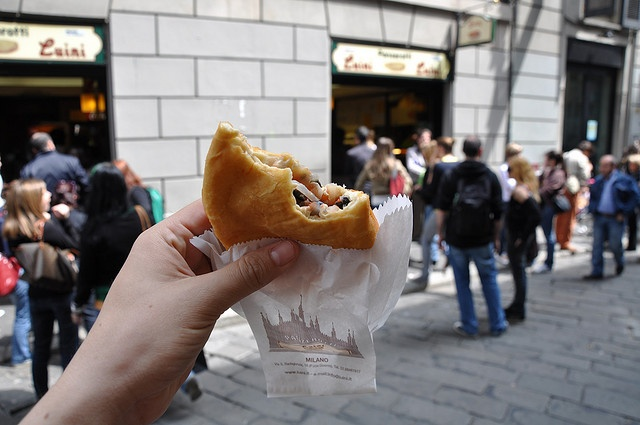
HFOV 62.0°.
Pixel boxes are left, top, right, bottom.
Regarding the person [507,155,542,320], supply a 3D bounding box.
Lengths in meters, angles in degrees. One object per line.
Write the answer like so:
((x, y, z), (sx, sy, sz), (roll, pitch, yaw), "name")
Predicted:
((3.300, 0.407, 8.678), (0.515, 2.492, 1.176), (3, 10, 21), "person")

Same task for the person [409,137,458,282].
((2.115, -0.065, 10.142), (0.819, 2.976, 0.791), (10, 21, 18), "person")

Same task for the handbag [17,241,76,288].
((-3.669, 0.704, 7.131), (0.428, 0.511, 0.264), (-14, -5, -25), "handbag")

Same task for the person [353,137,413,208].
((1.254, -0.345, 10.766), (1.126, 2.384, 0.620), (3, 40, 7), "person")
